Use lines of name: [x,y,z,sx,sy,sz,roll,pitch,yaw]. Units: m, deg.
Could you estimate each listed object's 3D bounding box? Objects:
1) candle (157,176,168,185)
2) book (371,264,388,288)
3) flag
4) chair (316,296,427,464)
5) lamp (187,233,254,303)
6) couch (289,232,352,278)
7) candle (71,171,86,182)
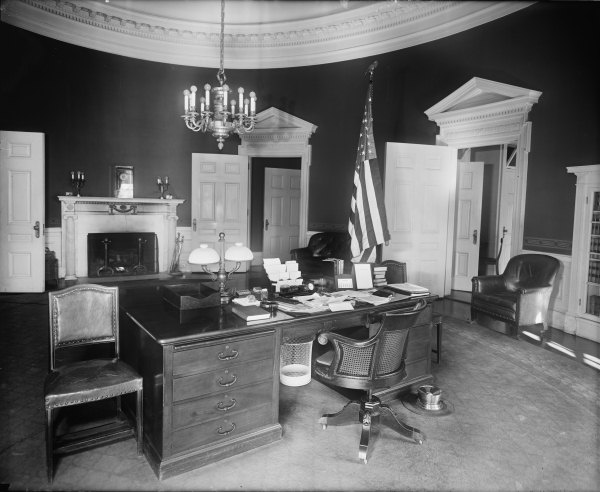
candle: [-2.590,-1.228,8.970,0.218,0.152,0.274,-2,12,-17]
book: [0.815,0.313,4.906,0.237,0.193,0.240,6,4,-1]
flag: [0.801,-0.769,5.673,0.390,2.035,0.699,0,12,-9]
chair: [0.526,0.909,4.263,1.080,1.474,1.097,5,8,34]
lamp: [-1.067,0.262,6.117,0.927,1.147,0.391,-1,1,-30]
couch: [0.443,0.105,8.057,0.680,1.004,0.933,5,-5,-37]
candle: [-3.879,-1.225,8.302,0.222,0.190,0.262,-3,12,-22]
